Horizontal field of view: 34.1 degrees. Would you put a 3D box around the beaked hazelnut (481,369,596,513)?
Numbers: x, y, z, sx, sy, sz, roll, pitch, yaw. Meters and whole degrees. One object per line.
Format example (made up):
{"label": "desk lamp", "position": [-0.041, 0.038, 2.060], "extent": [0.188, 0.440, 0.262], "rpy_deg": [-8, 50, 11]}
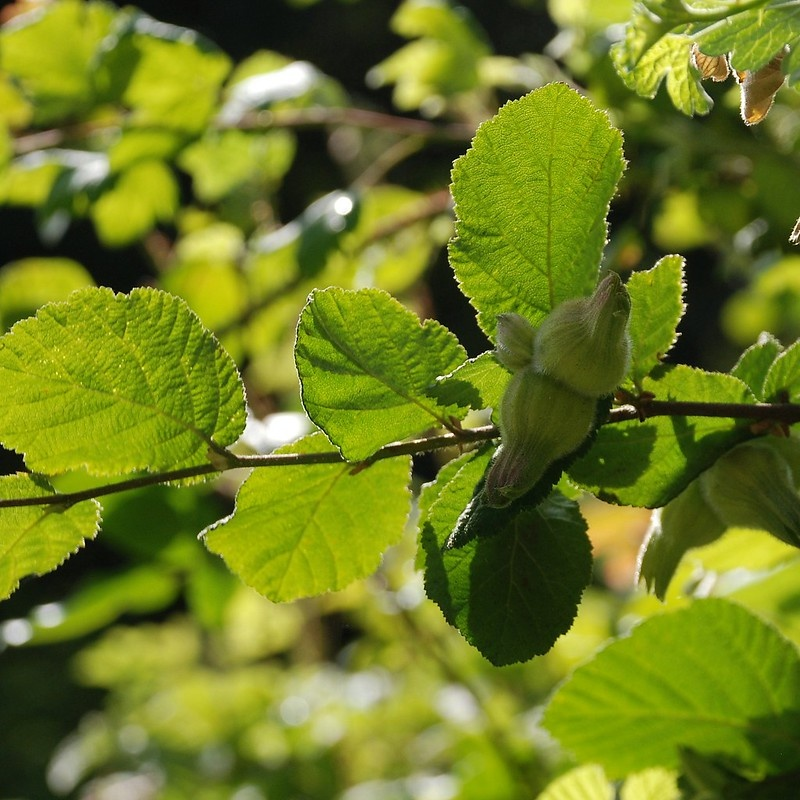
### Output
{"label": "beaked hazelnut", "position": [0.103, 0.032, 1.017], "extent": [0.072, 0.053, 0.111], "rpy_deg": [41, 87, -3]}

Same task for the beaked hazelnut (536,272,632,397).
{"label": "beaked hazelnut", "position": [0.148, -0.053, 0.976], "extent": [0.090, 0.091, 0.075], "rpy_deg": [-3, 52, 1]}
